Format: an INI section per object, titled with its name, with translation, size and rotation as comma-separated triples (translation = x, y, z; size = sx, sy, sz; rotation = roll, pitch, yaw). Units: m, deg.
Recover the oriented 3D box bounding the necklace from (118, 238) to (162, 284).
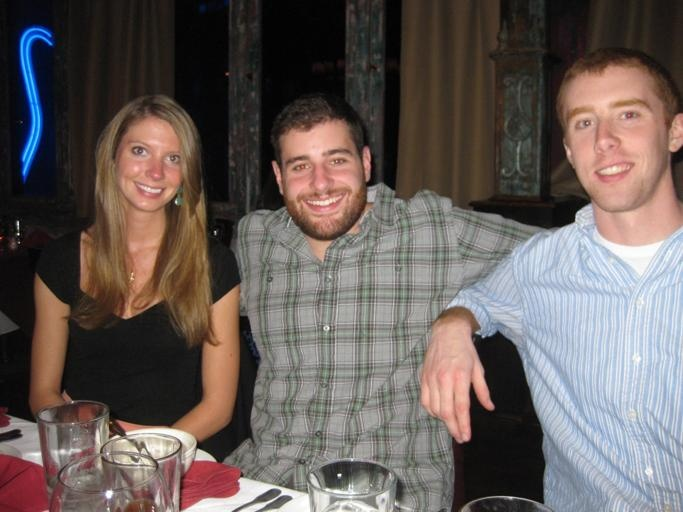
[necklace]
translation = -0.765, 0.014, 2.500
size = 0.157, 0.147, 0.046
rotation = 3, -19, -14
